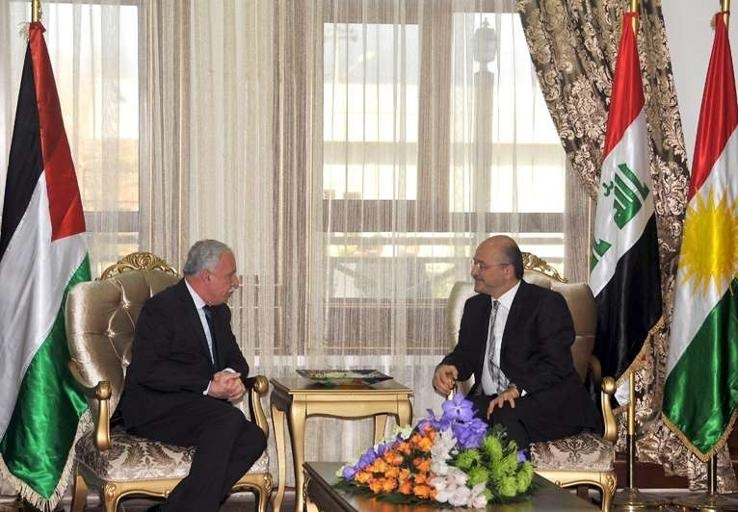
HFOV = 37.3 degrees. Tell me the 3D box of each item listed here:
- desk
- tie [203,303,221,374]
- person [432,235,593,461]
[{"bbox_3d":[-0.280,1.074,7.579,0.851,1.252,0.888,0,1,-32],"label":"desk"},{"bbox_3d":[-1.078,0.525,7.412,0.059,0.547,0.056,-6,-6,-2],"label":"tie"},{"bbox_3d":[0.954,0.897,7.616,1.005,2.162,0.808,-3,0,-28],"label":"person"}]
